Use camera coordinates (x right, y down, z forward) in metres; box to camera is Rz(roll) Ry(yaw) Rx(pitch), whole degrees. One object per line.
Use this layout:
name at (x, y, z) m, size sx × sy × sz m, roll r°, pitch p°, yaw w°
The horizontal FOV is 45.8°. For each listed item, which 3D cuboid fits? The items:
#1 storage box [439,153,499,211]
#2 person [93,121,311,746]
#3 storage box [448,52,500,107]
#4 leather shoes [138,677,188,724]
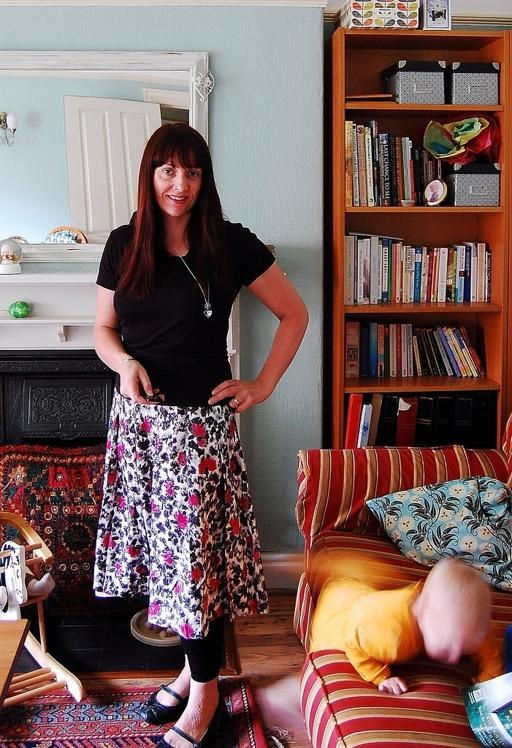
storage box at (0.805, -0.729, 2.310) m, size 0.185 × 0.160 × 0.183 m, roll 0°, pitch 7°, yaw -1°
person at (-0.110, 0.168, 1.381) m, size 0.496 × 1.387 × 0.253 m, roll 0°, pitch 3°, yaw -16°
storage box at (0.789, -1.056, 2.197) m, size 0.179 × 0.150 × 0.179 m, roll 2°, pitch 12°, yaw 8°
leather shoes at (-0.228, 0.843, 1.560) m, size 0.071 × 0.053 × 0.142 m, roll 2°, pitch 1°, yaw 43°
